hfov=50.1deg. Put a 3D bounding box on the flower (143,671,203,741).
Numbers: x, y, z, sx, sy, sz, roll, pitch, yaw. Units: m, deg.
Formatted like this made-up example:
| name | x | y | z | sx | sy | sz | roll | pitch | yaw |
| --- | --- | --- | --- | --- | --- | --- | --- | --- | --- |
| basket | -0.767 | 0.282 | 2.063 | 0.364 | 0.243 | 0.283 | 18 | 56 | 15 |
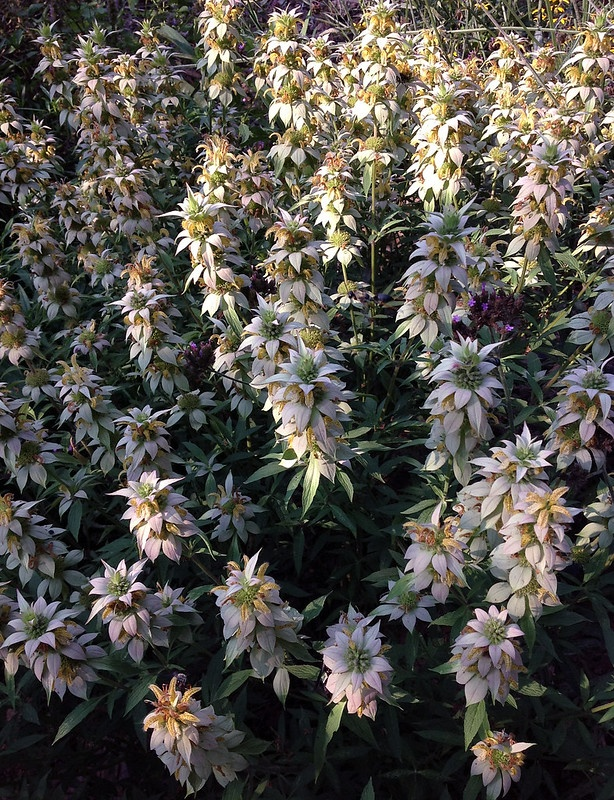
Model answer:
| name | x | y | z | sx | sy | sz | roll | pitch | yaw |
| --- | --- | --- | --- | --- | --- | --- | --- | --- | --- |
| flower | -0.339 | 0.798 | 1.707 | 0.145 | 0.179 | 0.092 | 10 | 29 | 21 |
